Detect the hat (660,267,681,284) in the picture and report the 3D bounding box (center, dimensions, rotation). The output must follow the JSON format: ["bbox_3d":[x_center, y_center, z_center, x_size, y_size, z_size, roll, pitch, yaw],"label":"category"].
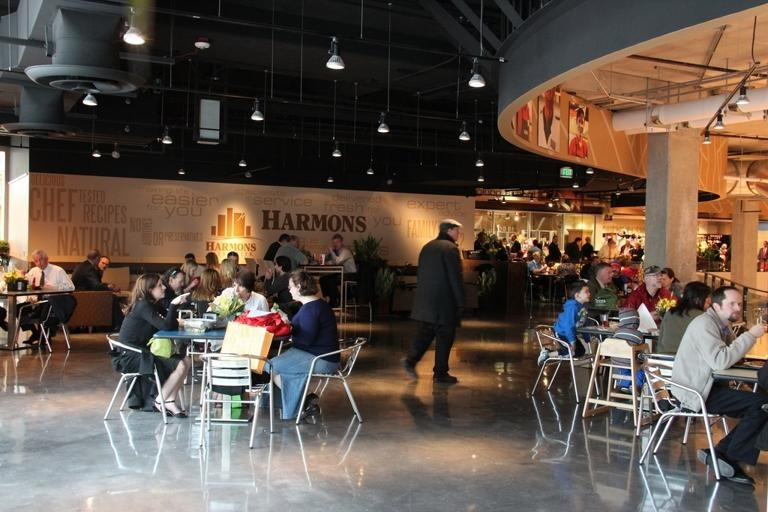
[{"bbox_3d":[4.172,0.258,9.343,0.295,0.215,0.422,-8,-5,29],"label":"hat"}]

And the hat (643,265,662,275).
[{"bbox_3d":[3.821,0.190,9.203,0.164,0.079,0.220,-1,-3,-2],"label":"hat"}]

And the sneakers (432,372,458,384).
[{"bbox_3d":[0.915,1.772,9.401,0.308,0.180,0.154,-2,1,-6],"label":"sneakers"}]

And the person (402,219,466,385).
[{"bbox_3d":[0.794,0.639,9.527,0.878,2.356,0.549,5,6,35],"label":"person"}]

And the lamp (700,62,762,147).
[{"bbox_3d":[5.140,-2.300,9.532,0.677,1.106,2.200,4,5,26],"label":"lamp"}]

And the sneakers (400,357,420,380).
[{"bbox_3d":[0.401,1.723,9.834,0.132,0.383,0.174,-25,15,9],"label":"sneakers"}]

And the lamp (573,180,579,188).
[{"bbox_3d":[5.856,-2.204,19.581,0.240,0.257,0.260,2,5,24],"label":"lamp"}]

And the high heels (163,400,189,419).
[{"bbox_3d":[-2.432,1.808,7.610,0.371,0.140,0.127,1,1,29],"label":"high heels"}]

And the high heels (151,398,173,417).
[{"bbox_3d":[-2.652,1.787,7.673,0.138,0.139,0.365,1,-1,-42],"label":"high heels"}]

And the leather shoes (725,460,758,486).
[{"bbox_3d":[3.415,2.081,6.164,0.289,0.191,0.128,0,-5,21],"label":"leather shoes"}]
